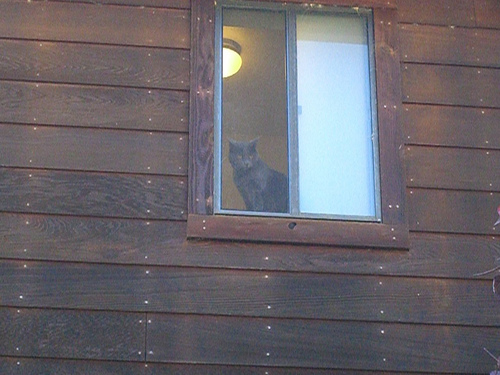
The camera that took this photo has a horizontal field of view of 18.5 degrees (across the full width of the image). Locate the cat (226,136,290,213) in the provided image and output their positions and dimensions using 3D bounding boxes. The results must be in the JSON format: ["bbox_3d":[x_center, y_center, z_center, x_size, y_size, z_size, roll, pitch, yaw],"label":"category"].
[{"bbox_3d":[0.019,-0.064,8.923,0.189,0.478,0.497,1,99,18],"label":"cat"}]
